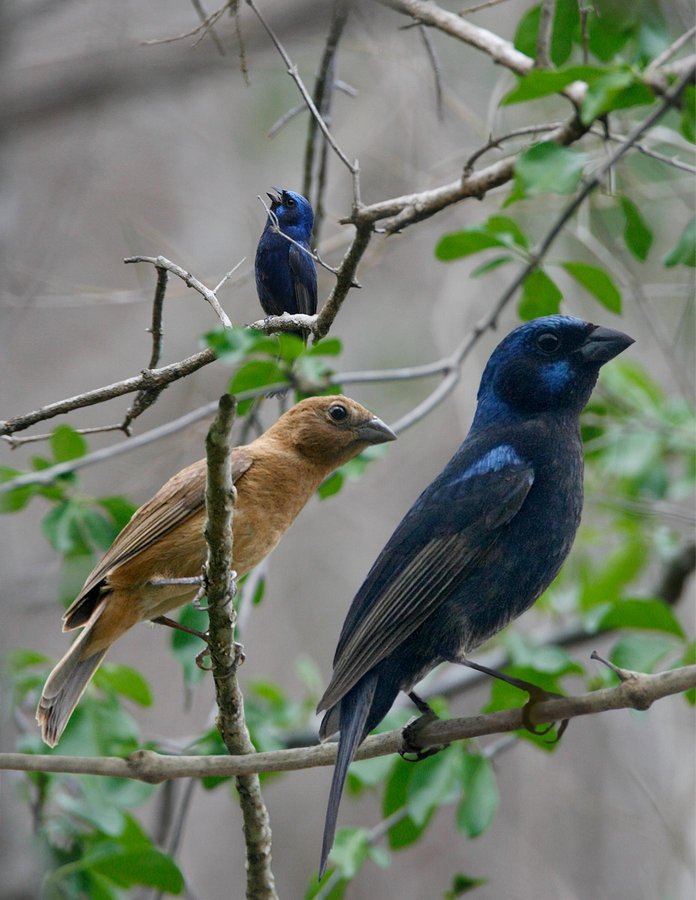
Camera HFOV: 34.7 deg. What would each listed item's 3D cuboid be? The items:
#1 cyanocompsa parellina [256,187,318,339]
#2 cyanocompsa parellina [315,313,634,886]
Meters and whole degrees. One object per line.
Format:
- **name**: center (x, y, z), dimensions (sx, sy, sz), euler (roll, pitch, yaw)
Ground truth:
- **cyanocompsa parellina**: center (-0.126, -0.408, 2.422), dimensions (0.136, 0.401, 0.217), euler (5, -56, 0)
- **cyanocompsa parellina**: center (0.322, 0.267, 2.348), dimensions (0.355, 0.930, 0.962), euler (30, -59, -15)
